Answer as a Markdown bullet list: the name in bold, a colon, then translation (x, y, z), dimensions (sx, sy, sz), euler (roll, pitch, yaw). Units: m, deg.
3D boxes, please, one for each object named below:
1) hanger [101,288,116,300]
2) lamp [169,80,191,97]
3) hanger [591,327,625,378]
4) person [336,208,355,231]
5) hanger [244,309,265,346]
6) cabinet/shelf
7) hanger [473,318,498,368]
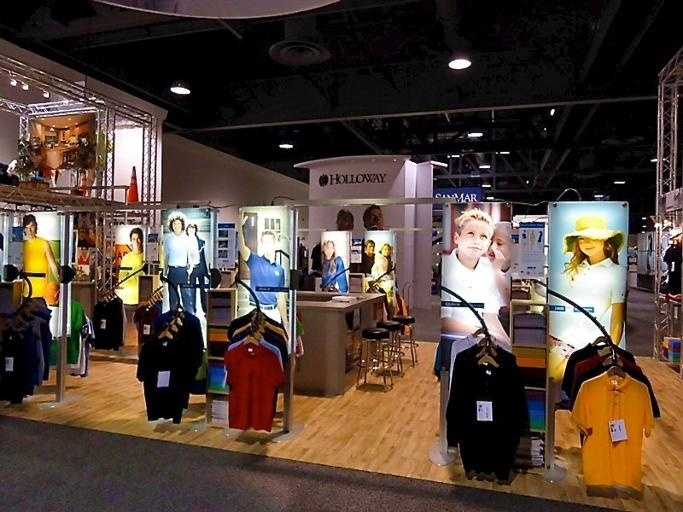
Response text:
- **hanger**: translation (-4.118, 0.685, 8.783), dimensions (0.328, 0.129, 0.247), euler (1, 5, 14)
- **lamp**: translation (-2.770, -2.876, 8.726), dimensions (0.278, 0.130, 0.279), euler (1, 5, -24)
- **hanger**: translation (2.579, 0.915, 4.811), dimensions (0.258, 0.349, 0.272), euler (6, 8, 42)
- **person**: translation (0.115, -1.003, 14.541), dimensions (0.562, 0.781, 0.595), euler (0, 1, 36)
- **hanger**: translation (-0.963, 0.803, 5.654), dimensions (0.200, 0.355, 0.183), euler (1, 6, -1)
- **cabinet/shelf**: translation (1.922, 1.299, 5.182), dimensions (0.394, 1.712, 0.361), euler (3, 6, 19)
- **hanger**: translation (1.424, 0.882, 4.989), dimensions (0.167, 0.421, 0.254), euler (-2, 6, -23)
